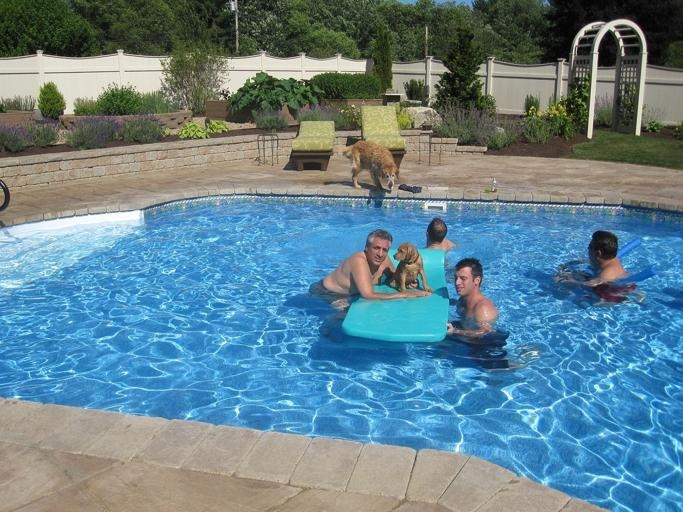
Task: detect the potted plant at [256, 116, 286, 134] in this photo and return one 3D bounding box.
[{"bbox_3d":[-2.406,-4.330,16.247,0.969,0.495,0.895,7,15,26],"label":"potted plant"}]

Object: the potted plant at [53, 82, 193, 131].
[{"bbox_3d":[-7.506,-5.274,17.348,2.812,1.109,3.652,-10,17,-39],"label":"potted plant"}]

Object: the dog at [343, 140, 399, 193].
[{"bbox_3d":[0.638,-1.904,10.462,0.597,0.998,1.350,-13,19,-31],"label":"dog"}]

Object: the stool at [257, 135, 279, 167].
[{"bbox_3d":[-2.119,-3.127,14.316,0.664,0.782,1.047,-4,16,-6],"label":"stool"}]

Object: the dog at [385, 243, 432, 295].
[{"bbox_3d":[0.763,0.172,5.649,0.434,0.498,0.756,-4,-4,7],"label":"dog"}]

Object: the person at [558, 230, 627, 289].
[{"bbox_3d":[3.215,0.011,6.364,0.426,0.767,0.741,-9,17,-19],"label":"person"}]

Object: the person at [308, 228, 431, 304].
[{"bbox_3d":[0.277,0.186,5.639,1.289,0.629,0.676,12,34,24],"label":"person"}]

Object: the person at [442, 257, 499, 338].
[{"bbox_3d":[1.366,0.397,5.146,0.477,0.829,0.561,2,17,16],"label":"person"}]
